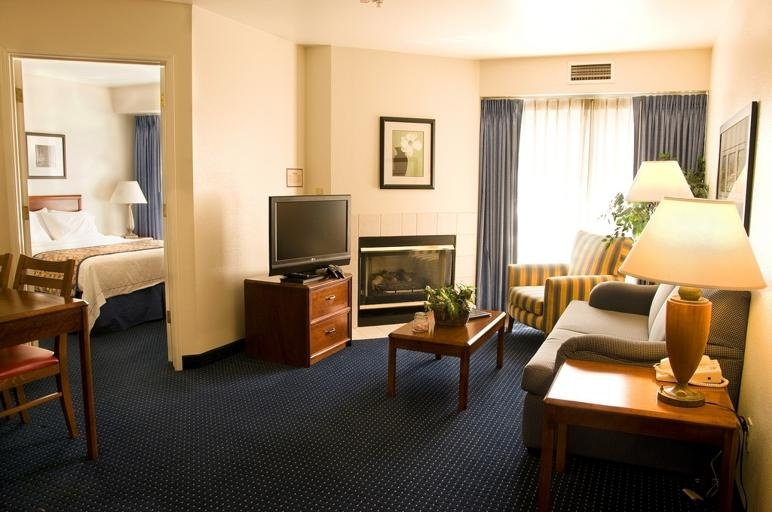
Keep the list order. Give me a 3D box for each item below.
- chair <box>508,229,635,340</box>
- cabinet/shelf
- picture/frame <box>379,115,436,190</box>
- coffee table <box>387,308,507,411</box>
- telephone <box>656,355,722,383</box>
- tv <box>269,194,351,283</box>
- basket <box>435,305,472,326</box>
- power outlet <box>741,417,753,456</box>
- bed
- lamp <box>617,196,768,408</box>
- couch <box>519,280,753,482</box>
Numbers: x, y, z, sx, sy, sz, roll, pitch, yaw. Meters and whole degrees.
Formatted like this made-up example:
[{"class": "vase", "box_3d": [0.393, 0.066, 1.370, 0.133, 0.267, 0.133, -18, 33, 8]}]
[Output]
[{"class": "chair", "box_3d": [1.954, 0.280, 5.973, 1.276, 1.401, 1.022, 1, 4, -17]}, {"class": "cabinet/shelf", "box_3d": [-0.899, 0.575, 5.451, 0.874, 0.843, 0.904, 1, 6, 20]}, {"class": "picture/frame", "box_3d": [0.218, -1.245, 6.199, 0.871, 1.027, 0.078, -1, 5, -30]}, {"class": "coffee table", "box_3d": [0.473, 0.610, 4.528, 0.699, 0.536, 1.179, 3, 8, 24]}, {"class": "telephone", "box_3d": [1.812, 0.701, 3.140, 0.236, 0.074, 0.245, -9, 1, 30]}, {"class": "tv", "box_3d": [-0.787, -0.168, 5.240, 0.145, 0.649, 0.872, 2, 5, 40]}, {"class": "basket", "box_3d": [0.565, 0.519, 4.561, 0.235, 0.107, 0.171, 0, -2, 10]}, {"class": "power outlet", "box_3d": [2.198, 1.102, 3.202, 0.053, 0.258, 0.115, 6, 14, 34]}, {"class": "bed", "box_3d": [-3.810, -0.040, 6.837, 2.455, 1.289, 1.500, 7, 12, 33]}, {"class": "lamp", "box_3d": [1.670, 0.258, 2.911, 0.697, 1.134, 0.316, 4, 14, 28]}, {"class": "couch", "box_3d": [1.810, 1.226, 3.961, 1.116, 1.078, 2.048, 3, 10, 23]}]
